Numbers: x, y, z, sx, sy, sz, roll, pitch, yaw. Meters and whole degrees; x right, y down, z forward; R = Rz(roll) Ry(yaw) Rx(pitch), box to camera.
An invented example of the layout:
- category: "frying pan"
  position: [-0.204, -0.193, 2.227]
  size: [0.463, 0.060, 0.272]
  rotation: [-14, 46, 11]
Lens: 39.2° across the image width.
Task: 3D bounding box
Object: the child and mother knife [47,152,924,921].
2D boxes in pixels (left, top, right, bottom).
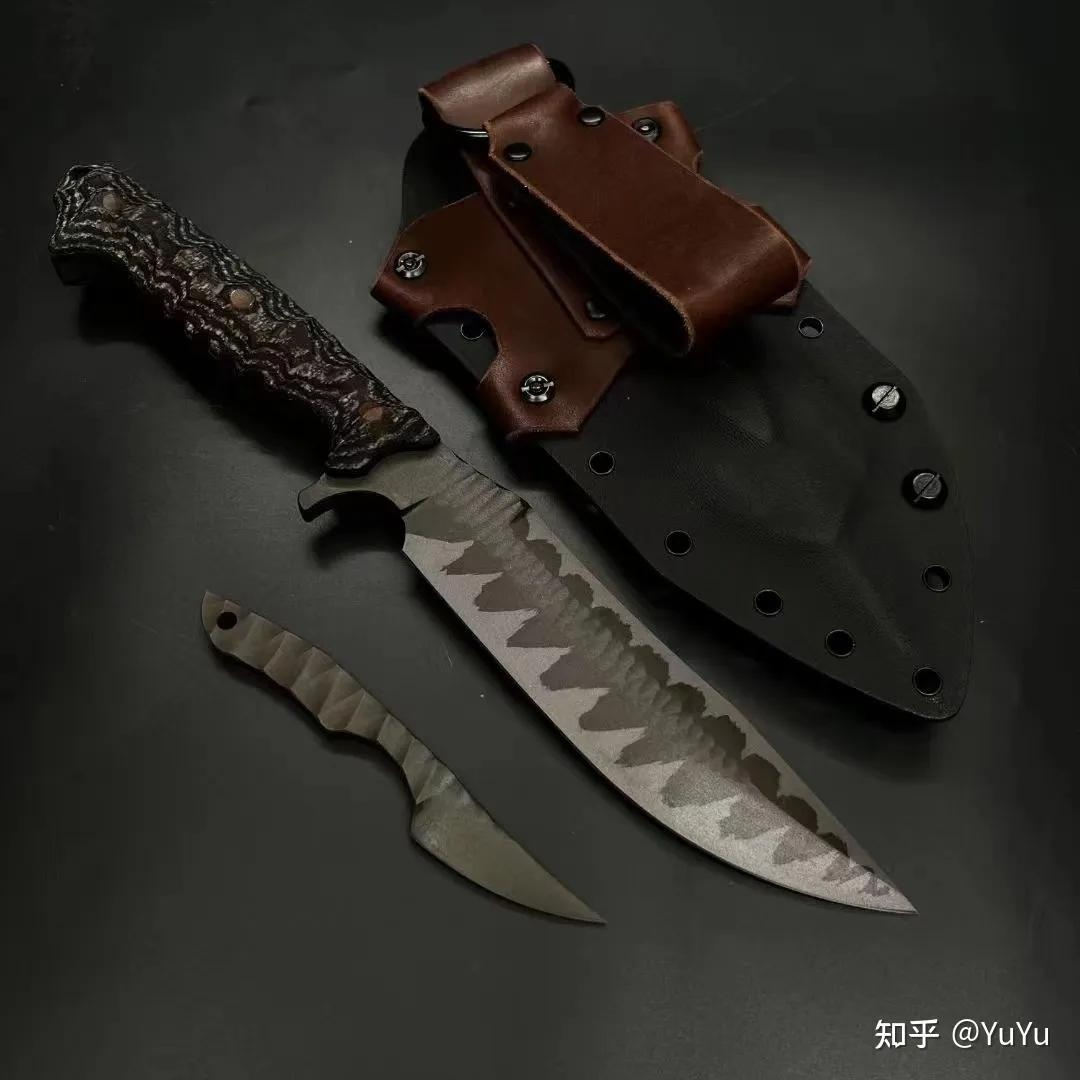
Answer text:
- category: "child and mother knife"
  position: [-0.058, 0.022, 1.447]
  size: [1.025, 0.067, 0.176]
  rotation: [41, 71, 15]
